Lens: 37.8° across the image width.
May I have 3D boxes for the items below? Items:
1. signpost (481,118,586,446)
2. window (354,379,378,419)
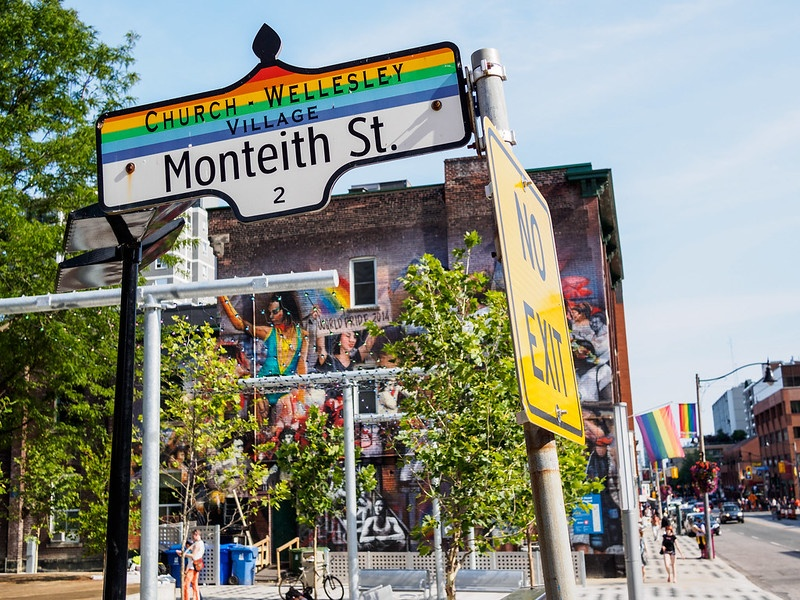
[{"bbox_3d":[2.086,-0.324,19.133,0.426,5.105,1.890,-14,-18,36],"label":"signpost"},{"bbox_3d":[-1.354,3.844,45.835,0.737,1.298,1.372,-1,-15,-5],"label":"window"}]
